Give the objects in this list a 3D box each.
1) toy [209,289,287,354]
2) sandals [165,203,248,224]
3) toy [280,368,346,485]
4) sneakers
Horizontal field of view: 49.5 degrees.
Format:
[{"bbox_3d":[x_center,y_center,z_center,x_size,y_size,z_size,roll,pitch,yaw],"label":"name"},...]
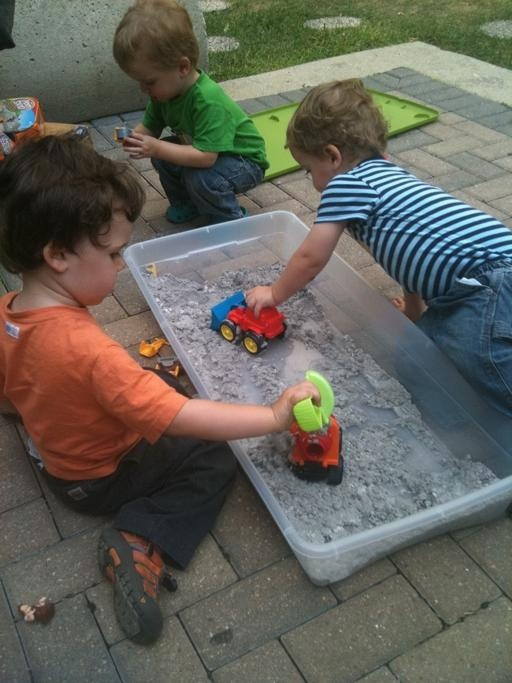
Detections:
[{"bbox_3d":[-0.035,-0.067,1.842,0.243,0.146,0.164,30,47,24],"label":"toy"},{"bbox_3d":[-0.213,-0.548,2.432,0.377,0.144,0.130,1,27,-7],"label":"sandals"},{"bbox_3d":[0.142,0.222,1.348,0.153,0.217,0.278,9,35,5],"label":"toy"},{"bbox_3d":[-0.284,0.504,1.222,0.123,0.090,0.268,-14,51,-20],"label":"sneakers"}]
